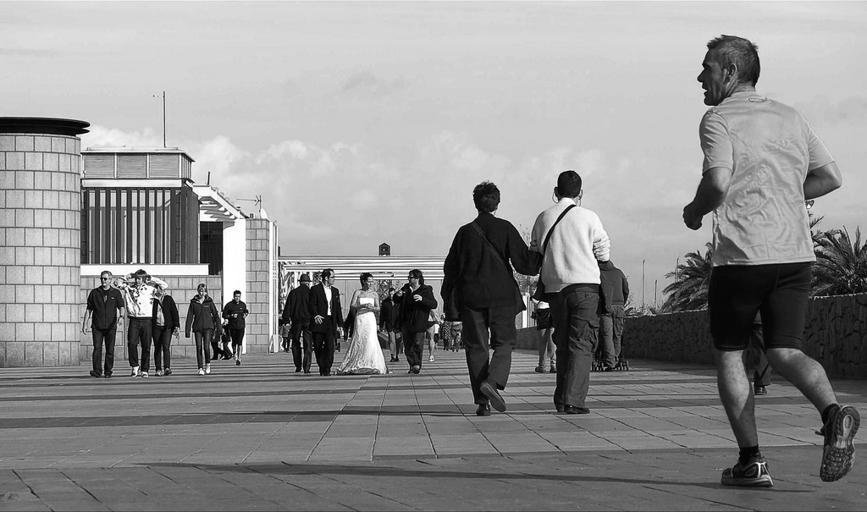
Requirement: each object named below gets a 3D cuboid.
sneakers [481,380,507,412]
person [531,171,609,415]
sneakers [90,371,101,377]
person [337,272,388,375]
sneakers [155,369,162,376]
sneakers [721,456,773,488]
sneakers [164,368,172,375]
[{"bbox_3d":[0.727,1.685,15.333,0.220,0.335,0.224,0,-2,-19],"label":"sneakers"},{"bbox_3d":[1.681,0.399,15.679,0.853,2.972,0.945,-3,-2,40],"label":"person"},{"bbox_3d":[-6.619,2.319,25.050,0.259,0.078,0.105,8,-5,10],"label":"sneakers"},{"bbox_3d":[-1.362,1.303,25.045,0.905,1.983,1.299,-1,-2,-4],"label":"person"},{"bbox_3d":[-5.625,2.404,26.231,0.154,0.131,0.126,6,-8,8],"label":"sneakers"},{"bbox_3d":[2.745,1.896,11.145,0.504,0.205,0.208,1,0,28],"label":"sneakers"},{"bbox_3d":[-5.396,2.366,26.042,0.096,0.090,0.236,-3,1,-15],"label":"sneakers"}]
